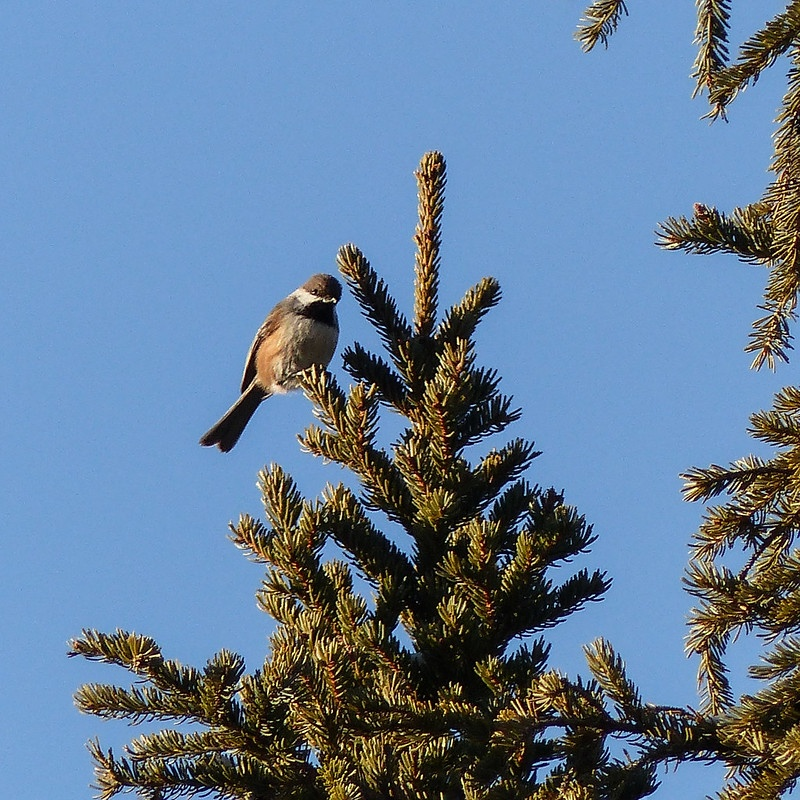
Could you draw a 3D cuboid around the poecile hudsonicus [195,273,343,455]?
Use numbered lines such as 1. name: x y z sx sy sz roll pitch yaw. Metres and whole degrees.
1. poecile hudsonicus: -0.587 -0.246 9.987 0.279 0.395 0.989 18 -66 -40
